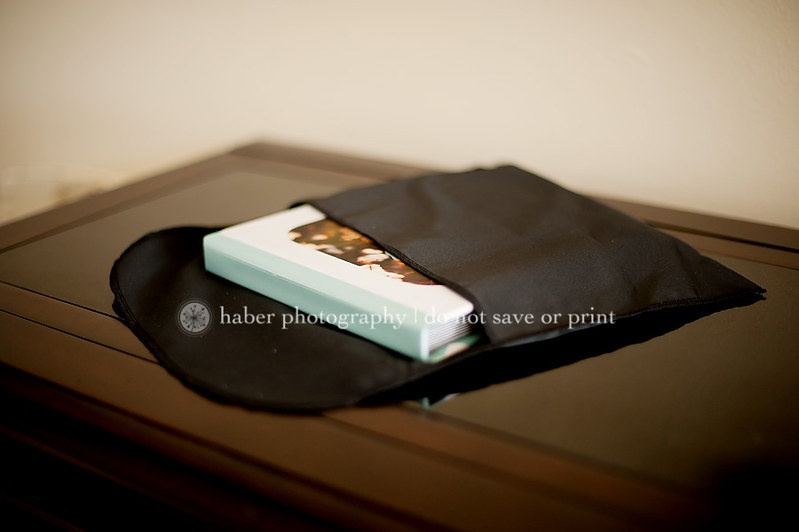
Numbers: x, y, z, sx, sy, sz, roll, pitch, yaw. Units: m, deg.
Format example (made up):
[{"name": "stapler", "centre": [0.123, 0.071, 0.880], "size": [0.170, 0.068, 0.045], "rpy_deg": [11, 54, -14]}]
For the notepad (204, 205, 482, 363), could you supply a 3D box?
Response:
[{"name": "notepad", "centre": [-0.046, 0.005, 0.638], "size": [0.306, 0.076, 0.153], "rpy_deg": [13, 22, 32]}]
